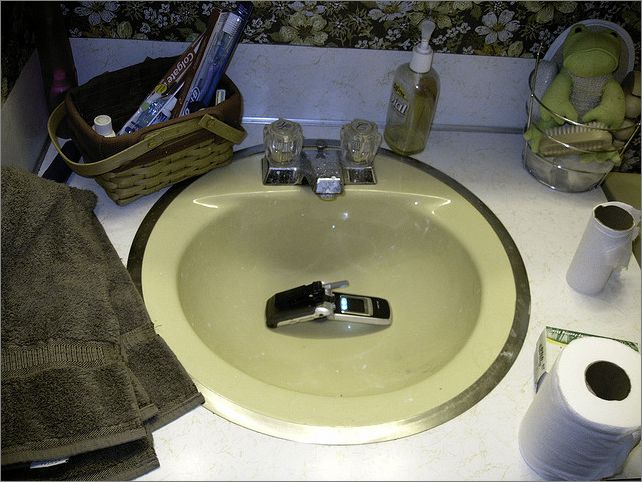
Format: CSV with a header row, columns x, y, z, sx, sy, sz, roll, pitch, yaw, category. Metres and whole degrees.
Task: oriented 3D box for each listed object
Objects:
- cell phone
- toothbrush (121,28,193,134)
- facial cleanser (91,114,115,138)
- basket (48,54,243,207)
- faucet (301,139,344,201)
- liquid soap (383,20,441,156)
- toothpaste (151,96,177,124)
x,y,z,sx,sy,sz,roll,pitch,yaw,category
0.016,0.136,1.105,0.246,0.072,0.103,-1,43,-1,cell phone
-0.311,-0.299,1.036,0.051,0.058,0.241,30,86,-1,toothbrush
-0.391,-0.202,0.978,0.031,0.032,0.053,-21,44,-20,facial cleanser
-0.306,-0.165,1.081,0.341,0.157,0.261,-23,48,-24,basket
0.000,-0.135,1.058,0.067,0.047,0.116,-1,46,-2,faucet
0.205,-0.319,1.110,0.141,0.283,0.097,-27,45,-26,liquid soap
-0.293,-0.242,1.012,0.056,0.030,0.031,-46,55,17,toothpaste
